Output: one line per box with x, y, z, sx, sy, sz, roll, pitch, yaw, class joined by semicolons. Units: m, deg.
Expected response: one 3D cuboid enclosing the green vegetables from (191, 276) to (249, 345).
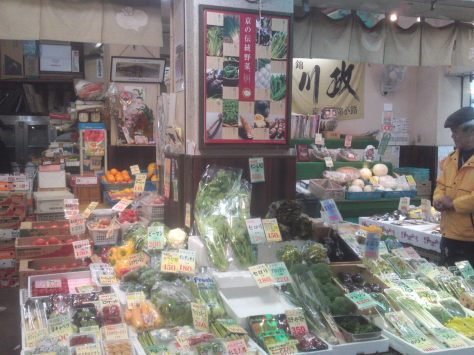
-0.145;0.878;2.499;0.170;0.076;0.545;0;30;-22;green vegetables

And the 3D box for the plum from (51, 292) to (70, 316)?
-1.193;0.859;2.565;0.080;0.041;0.143;4;17;-15;plum

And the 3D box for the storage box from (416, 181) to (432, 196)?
3.731;0.215;7.659;0.268;0.189;0.282;0;-2;-5;storage box

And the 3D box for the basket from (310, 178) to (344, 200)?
1.317;0.179;5.708;0.282;0.166;0.436;-2;11;-18;basket

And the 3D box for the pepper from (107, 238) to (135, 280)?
-0.944;0.674;3.109;0.214;0.208;0.429;-3;13;-19;pepper

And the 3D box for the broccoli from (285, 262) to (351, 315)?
0.590;0.821;2.679;0.296;0.104;0.306;5;29;-40;broccoli

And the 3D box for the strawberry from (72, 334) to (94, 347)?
-0.904;0.947;2.206;0.079;0.026;0.066;-2;13;-14;strawberry

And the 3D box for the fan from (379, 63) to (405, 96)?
3.724;-2.354;9.158;0.547;0.705;0.358;5;12;21;fan

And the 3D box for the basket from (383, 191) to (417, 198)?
2.511;0.266;5.870;0.583;0.142;0.115;-2;12;-14;basket

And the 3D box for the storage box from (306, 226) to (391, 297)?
0.868;0.690;3.057;0.296;0.146;0.645;0;41;-29;storage box

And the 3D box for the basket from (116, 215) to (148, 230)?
-1.167;0.521;4.262;0.210;0.100;0.261;-1;0;-43;basket

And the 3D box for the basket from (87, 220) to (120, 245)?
-1.439;0.633;4.179;0.306;0.144;0.232;1;20;-10;basket

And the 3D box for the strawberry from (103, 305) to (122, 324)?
-0.818;0.897;2.477;0.096;0.057;0.102;-5;44;-25;strawberry

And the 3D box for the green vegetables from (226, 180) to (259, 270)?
0.040;0.382;3.093;0.213;0.618;0.233;-1;11;-20;green vegetables

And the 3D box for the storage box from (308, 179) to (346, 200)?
1.315;0.177;5.708;0.290;0.171;0.448;-2;12;-15;storage box
